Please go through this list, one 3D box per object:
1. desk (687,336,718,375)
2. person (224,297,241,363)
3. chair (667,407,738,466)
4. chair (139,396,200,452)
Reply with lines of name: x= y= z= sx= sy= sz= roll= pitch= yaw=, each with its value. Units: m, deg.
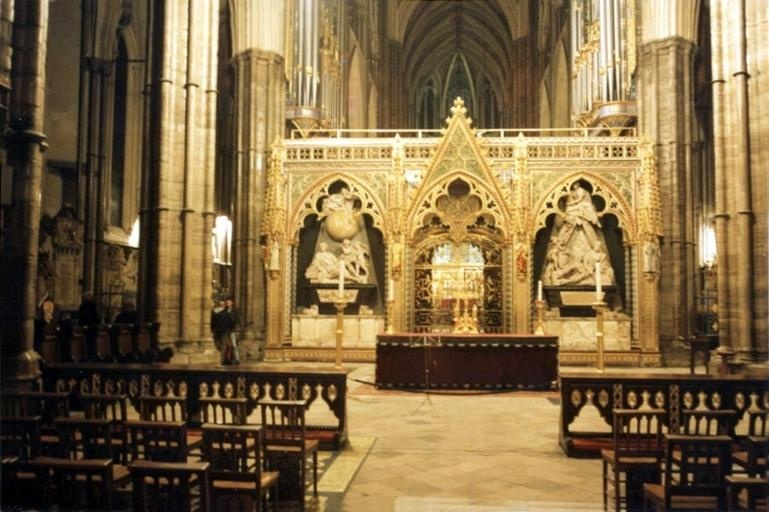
desk: x=9.064 y=2.844 z=40.405 sx=0.914 sy=0.967 sz=0.842 roll=1 pitch=-5 yaw=-15
person: x=-4.491 y=2.197 z=41.323 sx=0.426 sy=1.909 sz=1.122 roll=2 pitch=-6 yaw=-7
chair: x=7.568 y=4.068 z=33.125 sx=1.253 sy=1.497 sz=1.145 roll=1 pitch=7 yaw=1
chair: x=-5.076 y=3.765 z=33.062 sx=1.237 sy=1.964 sz=1.426 roll=2 pitch=5 yaw=7
